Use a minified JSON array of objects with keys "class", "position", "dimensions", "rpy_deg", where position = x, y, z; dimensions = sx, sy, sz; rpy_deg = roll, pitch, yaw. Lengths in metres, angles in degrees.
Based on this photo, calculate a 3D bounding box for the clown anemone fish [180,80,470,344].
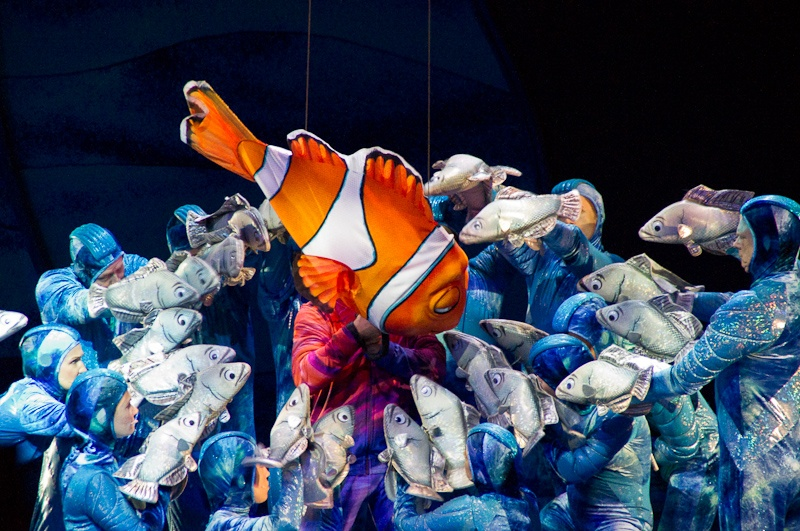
[{"class":"clown anemone fish","position":[-0.331,-0.332,6.889],"dimensions":[1.621,0.504,0.839],"rpy_deg":[35,-39,1]}]

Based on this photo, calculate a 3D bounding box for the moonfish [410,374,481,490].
[{"class":"moonfish","position":[0.206,0.788,7.129],"dimensions":[0.322,0.541,0.242],"rpy_deg":[-8,19,-14]}]
